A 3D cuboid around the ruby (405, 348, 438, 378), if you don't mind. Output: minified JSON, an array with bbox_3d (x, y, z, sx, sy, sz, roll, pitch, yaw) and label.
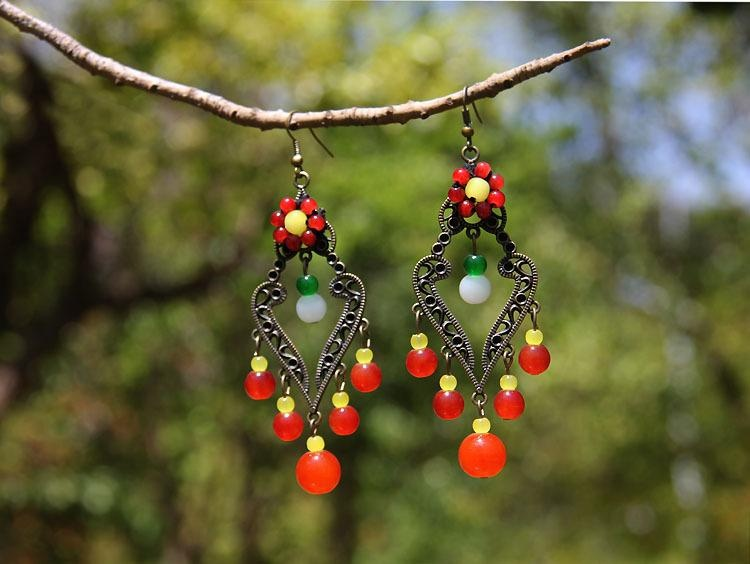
[{"bbox_3d":[0.175,0.299,3.633,0.100,0.105,0.109,-1,88,2],"label":"ruby"}]

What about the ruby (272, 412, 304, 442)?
[{"bbox_3d":[-0.329,0.539,3.647,0.100,0.109,0.107,-1,89,2],"label":"ruby"}]

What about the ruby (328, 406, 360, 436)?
[{"bbox_3d":[-0.114,0.509,3.633,0.103,0.109,0.114,-2,88,3],"label":"ruby"}]

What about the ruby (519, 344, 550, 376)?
[{"bbox_3d":[0.591,0.293,3.631,0.100,0.106,0.134,-10,77,40],"label":"ruby"}]

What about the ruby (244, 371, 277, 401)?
[{"bbox_3d":[-0.431,0.381,3.655,0.103,0.111,0.116,-1,91,-3],"label":"ruby"}]

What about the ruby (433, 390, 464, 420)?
[{"bbox_3d":[0.280,0.454,3.641,0.096,0.102,0.106,0,89,0],"label":"ruby"}]

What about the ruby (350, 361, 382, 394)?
[{"bbox_3d":[-0.029,0.361,3.637,0.101,0.105,0.108,-3,82,-19],"label":"ruby"}]

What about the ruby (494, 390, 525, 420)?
[{"bbox_3d":[0.506,0.454,3.636,0.098,0.105,0.107,1,90,6],"label":"ruby"}]
